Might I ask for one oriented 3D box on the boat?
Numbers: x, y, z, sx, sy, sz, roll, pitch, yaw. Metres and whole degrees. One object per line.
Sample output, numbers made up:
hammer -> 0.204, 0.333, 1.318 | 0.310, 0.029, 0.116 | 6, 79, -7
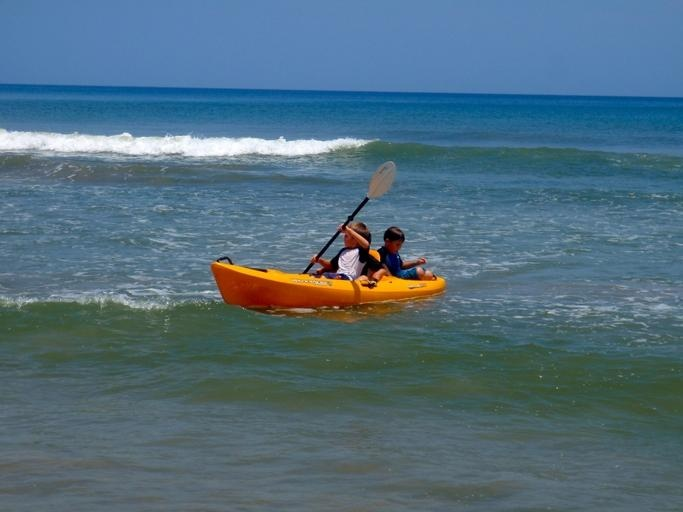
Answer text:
boat -> -0.217, 0.449, 18.815 | 3.688, 0.527, 0.991 | 3, -3, -20

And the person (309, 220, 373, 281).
person -> -0.022, -0.039, 18.838 | 1.104, 0.866, 0.974 | 9, -11, -33

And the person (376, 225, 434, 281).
person -> 1.038, 0.021, 19.326 | 1.220, 0.714, 0.438 | 6, 2, 3
